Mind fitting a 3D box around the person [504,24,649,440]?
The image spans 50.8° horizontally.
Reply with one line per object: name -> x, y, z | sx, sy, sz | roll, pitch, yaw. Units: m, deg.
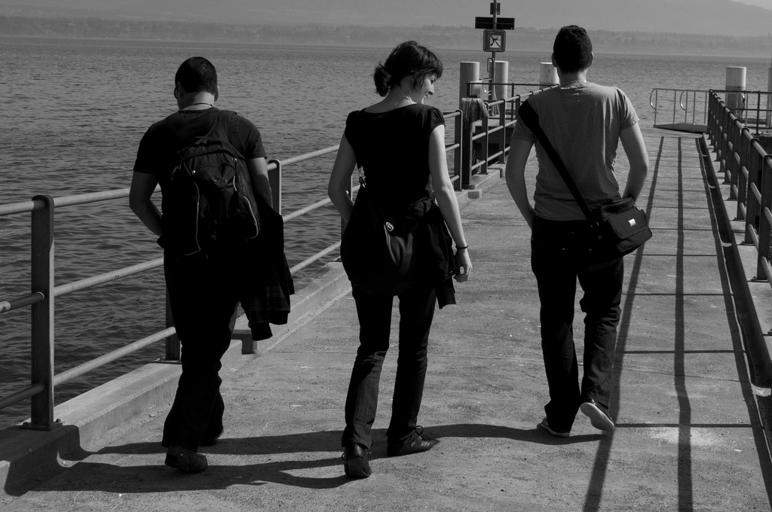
person -> 1.173, -0.137, 5.160 | 0.842, 2.545, 0.730 | 4, 16, 16

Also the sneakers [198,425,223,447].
sneakers -> -1.078, 1.134, 5.085 | 0.109, 0.121, 0.135 | -3, 25, 11

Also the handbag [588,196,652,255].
handbag -> 1.500, -0.185, 5.189 | 0.395, 0.319, 0.210 | -20, 5, -32

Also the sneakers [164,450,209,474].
sneakers -> -1.155, 1.204, 4.807 | 0.252, 0.109, 0.125 | 10, 43, -25

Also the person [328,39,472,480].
person -> 0.088, 0.197, 4.781 | 0.800, 2.124, 0.682 | -2, 15, -5

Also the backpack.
backpack -> -1.015, -0.459, 4.653 | 0.539, 0.718, 0.426 | -7, 15, -19

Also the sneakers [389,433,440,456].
sneakers -> 0.188, 1.146, 5.044 | 0.318, 0.126, 0.111 | -3, 10, -26

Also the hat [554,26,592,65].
hat -> 1.166, -1.300, 5.057 | 0.243, 0.256, 0.211 | 2, 16, 10
